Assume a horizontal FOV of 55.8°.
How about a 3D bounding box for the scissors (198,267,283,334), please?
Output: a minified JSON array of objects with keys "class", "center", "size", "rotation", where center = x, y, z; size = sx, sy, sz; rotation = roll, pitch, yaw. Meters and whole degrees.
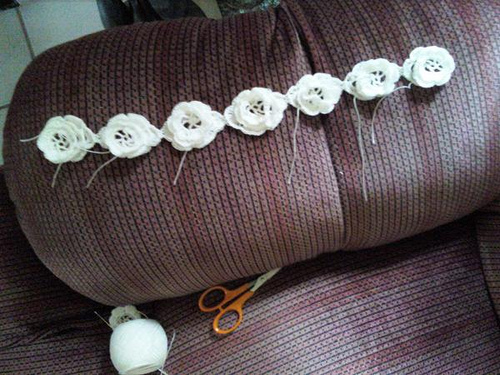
[{"class":"scissors","center":[-0.037,0.239,1.099],"size":[0.111,0.066,0.193],"rotation":[37,71,7]}]
